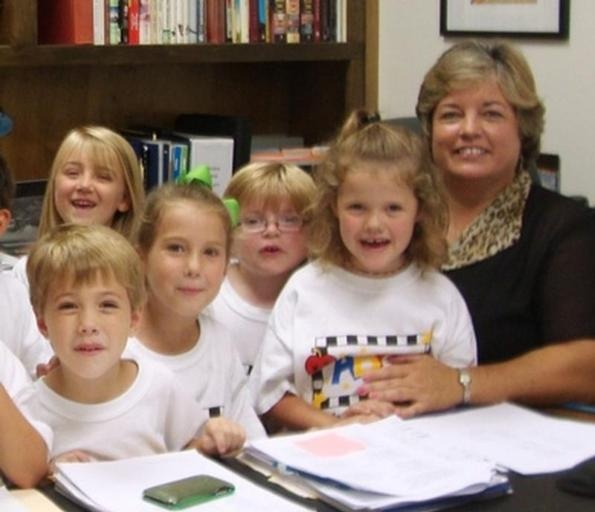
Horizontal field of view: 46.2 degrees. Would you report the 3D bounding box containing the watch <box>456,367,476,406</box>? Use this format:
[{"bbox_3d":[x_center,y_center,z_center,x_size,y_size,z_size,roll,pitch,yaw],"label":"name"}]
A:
[{"bbox_3d":[0.320,0.246,1.329,0.031,0.056,0.056,-3,16,-5],"label":"watch"}]

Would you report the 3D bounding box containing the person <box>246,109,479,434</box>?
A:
[{"bbox_3d":[0.135,0.140,1.454,0.468,0.834,0.320,-1,16,-7],"label":"person"}]
